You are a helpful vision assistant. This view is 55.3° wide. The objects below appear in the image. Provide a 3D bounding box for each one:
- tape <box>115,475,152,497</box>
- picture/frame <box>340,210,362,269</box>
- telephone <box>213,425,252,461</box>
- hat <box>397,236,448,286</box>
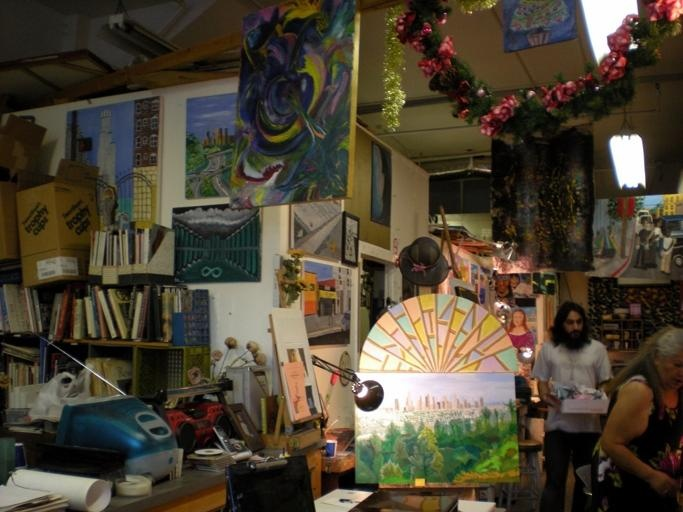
[{"bbox_3d":[-1.147,1.266,3.603,0.144,0.106,0.149,-5,-8,22],"label":"tape"},{"bbox_3d":[0.091,-0.186,6.946,0.083,0.649,0.555,-2,-7,23],"label":"picture/frame"},{"bbox_3d":[-0.731,1.264,4.431,0.282,0.222,0.282,6,-10,-43],"label":"telephone"},{"bbox_3d":[0.958,0.042,7.642,0.562,0.588,0.292,-2,-7,4],"label":"hat"}]
